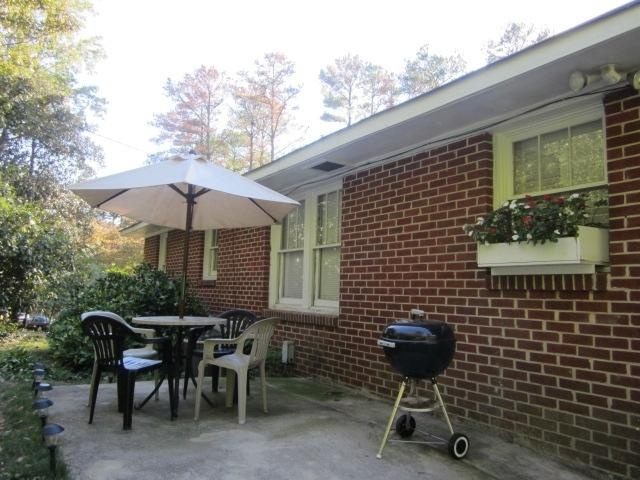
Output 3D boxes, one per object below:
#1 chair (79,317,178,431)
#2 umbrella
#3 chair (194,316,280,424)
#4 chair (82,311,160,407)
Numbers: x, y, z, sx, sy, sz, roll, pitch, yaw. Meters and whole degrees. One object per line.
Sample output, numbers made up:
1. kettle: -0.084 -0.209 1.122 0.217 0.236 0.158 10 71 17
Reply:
1. chair: -1.997 1.316 5.004 0.760 1.017 0.794 -7 -10 27
2. umbrella: -1.648 0.064 6.000 2.514 2.137 2.267 -1 9 -27
3. chair: -0.976 1.402 5.476 0.888 1.042 0.837 4 -19 -6
4. chair: -1.998 1.281 4.945 0.754 1.107 0.628 2 -3 1
